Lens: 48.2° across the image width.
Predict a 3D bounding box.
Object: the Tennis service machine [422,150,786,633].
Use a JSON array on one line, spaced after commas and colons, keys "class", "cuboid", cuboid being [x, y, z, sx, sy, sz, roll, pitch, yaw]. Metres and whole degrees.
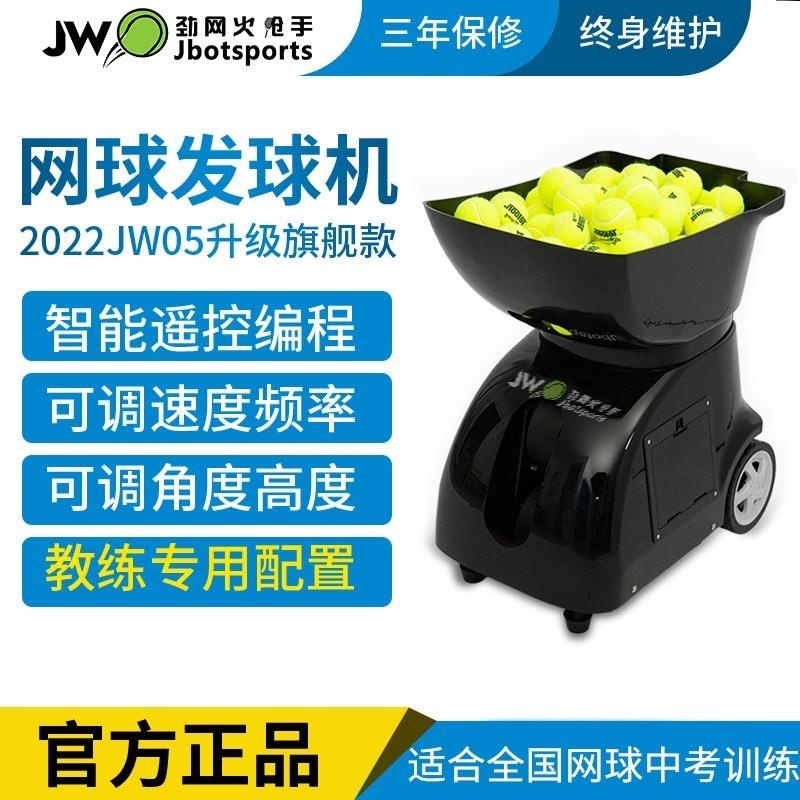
[{"class": "Tennis service machine", "cuboid": [0.422, -0.020, 1.747, 0.661, 0.783, 0.425, -23, 31, -36]}]
